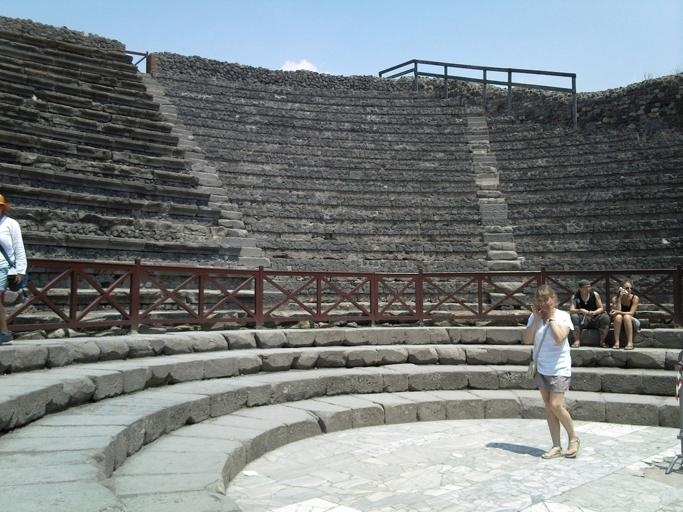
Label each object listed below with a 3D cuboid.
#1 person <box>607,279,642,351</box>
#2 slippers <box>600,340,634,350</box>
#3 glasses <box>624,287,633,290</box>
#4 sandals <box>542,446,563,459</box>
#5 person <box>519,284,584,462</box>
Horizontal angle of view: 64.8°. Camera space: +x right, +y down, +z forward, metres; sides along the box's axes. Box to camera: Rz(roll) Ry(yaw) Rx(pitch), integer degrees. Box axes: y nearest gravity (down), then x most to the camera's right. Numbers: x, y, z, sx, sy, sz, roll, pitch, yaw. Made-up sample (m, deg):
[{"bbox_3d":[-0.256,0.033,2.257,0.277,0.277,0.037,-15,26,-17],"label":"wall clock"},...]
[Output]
[{"bbox_3d":[4.681,0.961,8.883,0.428,1.115,0.401,-3,-8,21],"label":"person"},{"bbox_3d":[4.504,1.447,8.762,0.183,0.148,0.494,3,-6,-23],"label":"slippers"},{"bbox_3d":[4.695,0.539,8.833,0.127,0.040,0.020,3,-4,-8],"label":"glasses"},{"bbox_3d":[2.405,2.237,6.169,0.285,0.082,0.106,1,-3,-11],"label":"sandals"},{"bbox_3d":[2.359,1.311,6.101,0.526,1.959,0.554,-2,-8,17],"label":"person"}]
